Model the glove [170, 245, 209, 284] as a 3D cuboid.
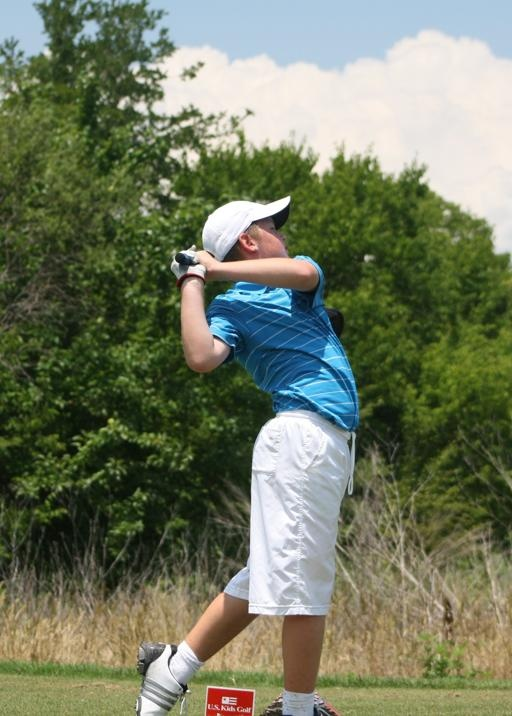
[{"bbox_3d":[-0.598,-0.822,16.328,0.355,0.267,0.202,20,-16,-37],"label":"glove"}]
